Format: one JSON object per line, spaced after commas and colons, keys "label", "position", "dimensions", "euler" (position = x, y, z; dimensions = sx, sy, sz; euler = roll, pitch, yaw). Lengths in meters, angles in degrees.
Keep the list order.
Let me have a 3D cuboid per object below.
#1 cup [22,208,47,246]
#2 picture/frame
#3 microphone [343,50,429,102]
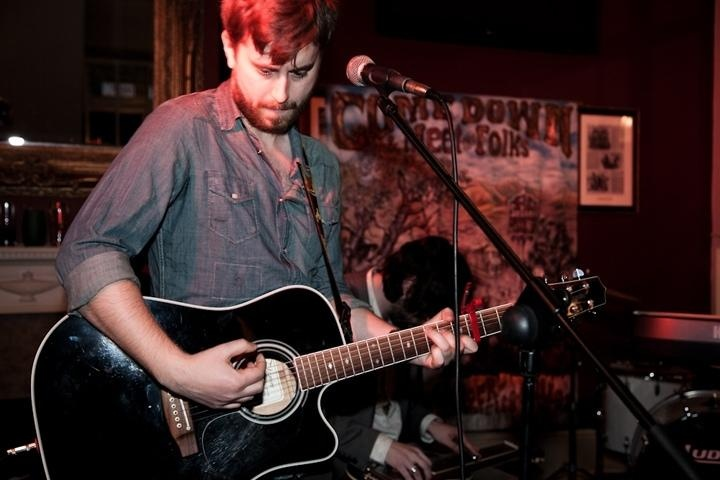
{"label": "cup", "position": [-2.111, -0.083, 4.206], "dimensions": [0.143, 0.204, 0.114], "euler": [-2, 1, -28]}
{"label": "picture/frame", "position": [1.868, -0.609, 4.936], "dimensions": [0.766, 1.096, 0.081], "euler": [1, -2, -10]}
{"label": "microphone", "position": [0.126, -0.773, 3.008], "dimensions": [0.546, 0.159, 0.160], "euler": [29, 12, 40]}
